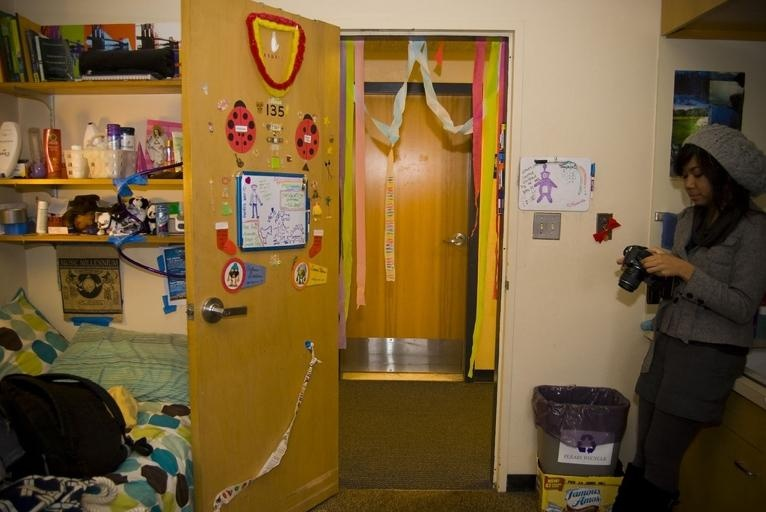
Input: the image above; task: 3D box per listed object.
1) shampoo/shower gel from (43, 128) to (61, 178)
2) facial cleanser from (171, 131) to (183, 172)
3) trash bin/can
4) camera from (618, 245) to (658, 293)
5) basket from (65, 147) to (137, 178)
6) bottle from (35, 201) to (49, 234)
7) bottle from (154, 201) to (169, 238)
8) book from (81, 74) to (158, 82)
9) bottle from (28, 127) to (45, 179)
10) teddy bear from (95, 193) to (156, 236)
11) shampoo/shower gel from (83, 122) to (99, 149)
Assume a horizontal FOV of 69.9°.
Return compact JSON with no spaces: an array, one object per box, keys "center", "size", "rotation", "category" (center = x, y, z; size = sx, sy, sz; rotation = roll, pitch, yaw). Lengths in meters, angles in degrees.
[{"center":[-1.968,-0.617,3.259],"size":[0.103,0.282,0.198],"rotation":[-8,15,-30],"category":"shampoo/shower gel"},{"center":[-1.192,-0.625,3.146],"size":[0.054,0.163,0.107],"rotation":[-6,14,-23],"category":"facial cleanser"},{"center":[1.139,0.980,3.295],"size":[0.665,0.540,0.465],"rotation":[1,2,7],"category":"trash bin/can"},{"center":[1.271,0.048,2.837],"size":[0.134,0.232,0.213],"rotation":[23,-2,-14],"category":"camera"},{"center":[-1.653,-0.531,3.184],"size":[0.310,0.150,0.203],"rotation":[0,4,-1],"category":"basket"},{"center":[-2.036,-0.239,3.260],"size":[0.076,0.189,0.137],"rotation":[-8,15,-30],"category":"bottle"},{"center":[-1.272,-0.212,3.143],"size":[0.071,0.180,0.047],"rotation":[-4,13,-13],"category":"bottle"},{"center":[-1.492,-1.010,3.085],"size":[0.413,0.038,0.024],"rotation":[0,13,1],"category":"book"},{"center":[-2.092,-0.629,3.291],"size":[0.096,0.290,0.225],"rotation":[-8,15,-30],"category":"bottle"},{"center":[-1.517,-0.242,3.222],"size":[0.318,0.211,0.260],"rotation":[-6,14,-20],"category":"teddy bear"},{"center":[-1.720,-0.715,3.226],"size":[0.087,0.136,0.121],"rotation":[-5,14,-18],"category":"shampoo/shower gel"}]
